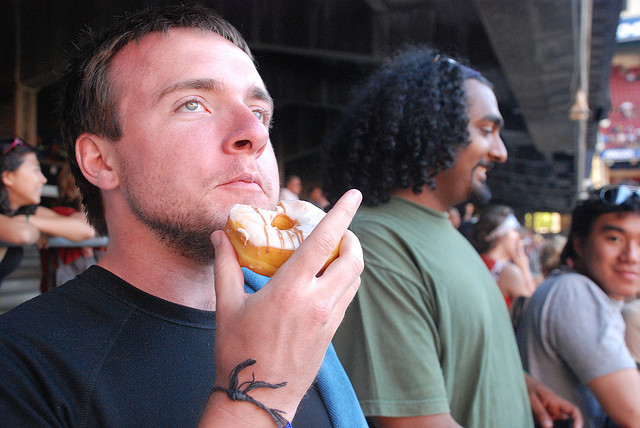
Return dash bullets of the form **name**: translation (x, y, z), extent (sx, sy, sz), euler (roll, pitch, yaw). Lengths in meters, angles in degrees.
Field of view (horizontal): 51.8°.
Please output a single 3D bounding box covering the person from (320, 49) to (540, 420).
- **person**: translation (0.825, 0.096, 4.292), extent (1.060, 2.319, 1.366), euler (7, -16, -26)
